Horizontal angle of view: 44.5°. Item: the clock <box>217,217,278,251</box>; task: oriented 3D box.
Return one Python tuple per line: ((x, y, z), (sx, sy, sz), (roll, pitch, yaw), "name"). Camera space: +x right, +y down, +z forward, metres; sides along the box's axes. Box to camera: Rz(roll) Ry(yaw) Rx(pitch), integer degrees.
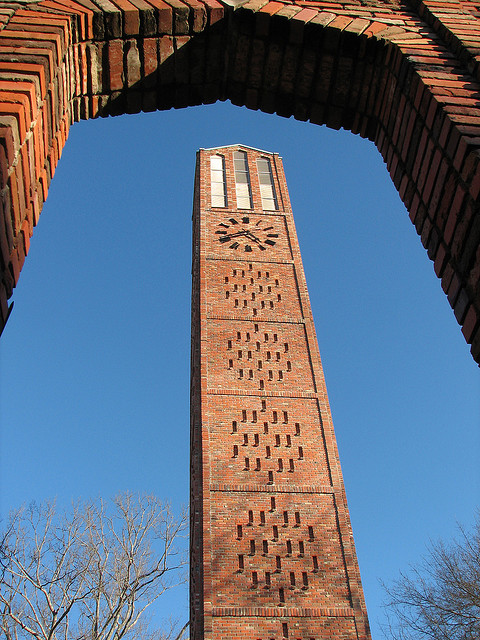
((0.187, -3.091, 21.553), (1.749, 1.823, 0.111), (-4, -50, -21), "clock")
